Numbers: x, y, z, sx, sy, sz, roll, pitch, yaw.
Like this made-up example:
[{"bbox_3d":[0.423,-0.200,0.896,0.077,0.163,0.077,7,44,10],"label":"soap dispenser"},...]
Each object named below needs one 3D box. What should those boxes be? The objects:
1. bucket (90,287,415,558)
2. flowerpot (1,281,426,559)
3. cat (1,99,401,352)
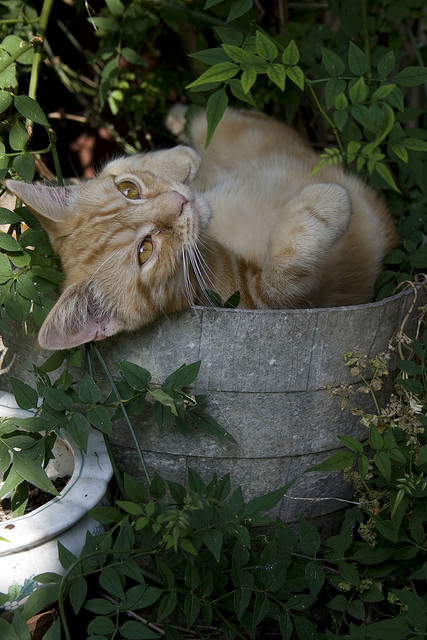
[{"bbox_3d":[0.123,0.215,1.804,0.826,0.488,0.661,0,2,-1],"label":"bucket"},{"bbox_3d":[-0.028,0.199,1.790,0.955,0.494,0.750,1,5,-16],"label":"flowerpot"},{"bbox_3d":[0.160,-0.218,2.181,0.962,0.452,1.516,12,12,25],"label":"cat"}]
